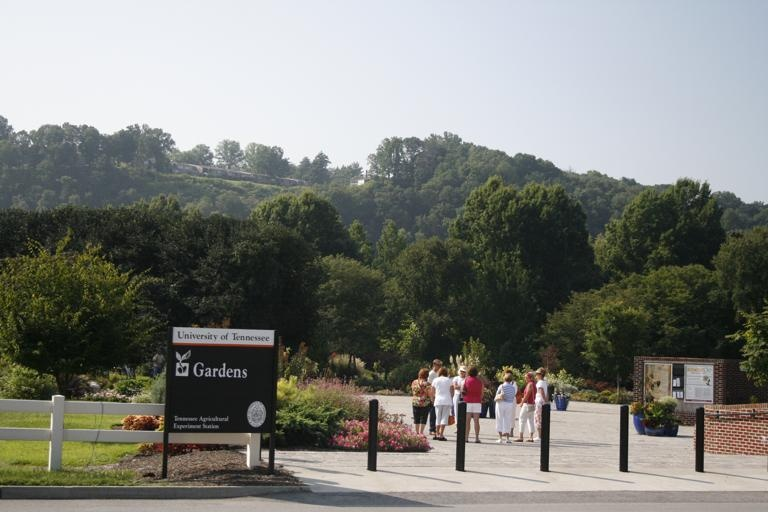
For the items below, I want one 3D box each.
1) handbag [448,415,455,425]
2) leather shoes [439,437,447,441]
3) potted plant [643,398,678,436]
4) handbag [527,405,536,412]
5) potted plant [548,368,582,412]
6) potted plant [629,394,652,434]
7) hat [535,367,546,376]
[{"bbox_3d":[2.591,6.380,41.482,0.294,0.500,0.236,3,4,21],"label":"handbag"},{"bbox_3d":[2.331,7.122,41.532,0.213,0.185,0.441,-4,-13,29],"label":"leather shoes"},{"bbox_3d":[11.891,6.871,45.383,1.660,1.613,1.100,12,-14,-42],"label":"potted plant"},{"bbox_3d":[5.686,5.901,41.337,0.383,0.314,0.234,3,6,15],"label":"handbag"},{"bbox_3d":[10.367,7.993,62.652,1.931,2.312,1.955,-5,-17,17],"label":"potted plant"},{"bbox_3d":[10.981,7.136,45.619,0.844,1.000,0.926,-8,-2,-2],"label":"potted plant"},{"bbox_3d":[6.076,4.524,41.315,0.321,0.342,0.632,2,-11,4],"label":"hat"}]
